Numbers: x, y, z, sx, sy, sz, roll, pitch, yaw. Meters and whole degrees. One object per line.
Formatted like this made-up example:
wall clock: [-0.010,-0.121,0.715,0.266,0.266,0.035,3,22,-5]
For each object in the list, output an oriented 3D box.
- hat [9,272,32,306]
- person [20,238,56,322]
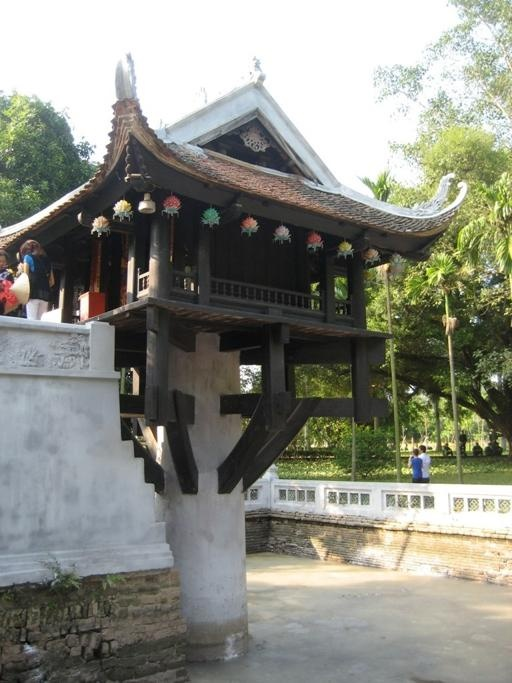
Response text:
hat: [-2.391,-0.546,6.544,0.081,0.286,0.288,10,-35,-39]
person: [-2.413,-0.704,6.939,0.316,1.016,0.615,0,-10,-20]
